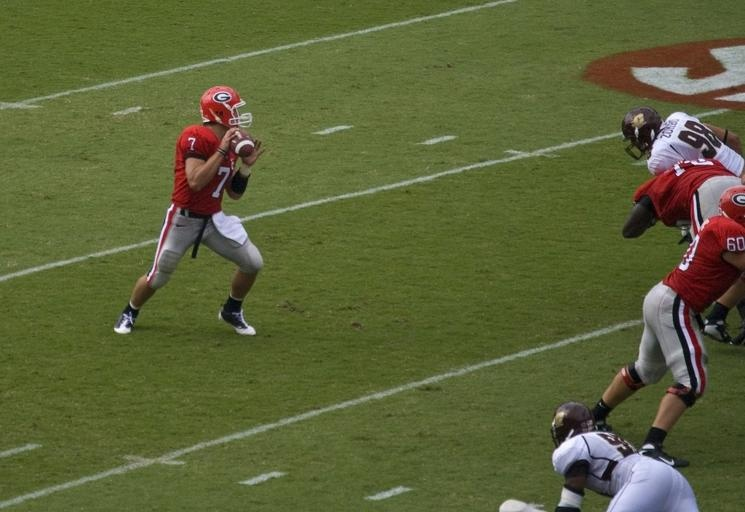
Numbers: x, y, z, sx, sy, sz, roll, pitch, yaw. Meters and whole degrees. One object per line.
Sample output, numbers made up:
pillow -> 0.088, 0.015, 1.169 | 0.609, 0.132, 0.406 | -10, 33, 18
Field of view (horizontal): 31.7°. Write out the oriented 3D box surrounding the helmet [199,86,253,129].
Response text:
helmet -> -1.324, -1.290, 11.224 | 0.551, 0.275, 0.369 | -1, 14, -36

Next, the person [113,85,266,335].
person -> -1.512, -0.361, 11.234 | 1.181, 1.998, 1.412 | 2, 36, 13

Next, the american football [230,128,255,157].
american football -> -1.082, -0.960, 11.024 | 0.156, 0.250, 0.213 | 5, 36, 17

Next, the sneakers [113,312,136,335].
sneakers -> -2.110, 0.580, 11.255 | 0.120, 0.107, 0.272 | -44, 15, -3
